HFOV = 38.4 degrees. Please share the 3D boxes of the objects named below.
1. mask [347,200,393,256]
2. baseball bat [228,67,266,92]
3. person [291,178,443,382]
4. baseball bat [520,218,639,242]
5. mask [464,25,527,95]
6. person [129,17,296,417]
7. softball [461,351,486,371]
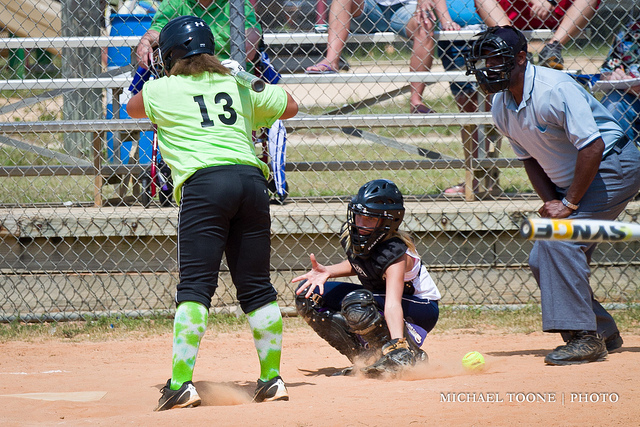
[{"bbox_3d":[0.322,0.118,7.523,0.349,0.406,0.425,16,11,39],"label":"mask"},{"bbox_3d":[-0.563,-1.013,6.943,0.302,0.185,0.166,0,14,11],"label":"baseball bat"},{"bbox_3d":[0.477,0.584,7.586,1.171,1.633,1.507,1,-1,-24],"label":"person"},{"bbox_3d":[1.795,0.117,6.376,1.023,0.167,0.167,1,6,-18],"label":"baseball bat"},{"bbox_3d":[1.480,-1.293,7.615,0.472,0.519,0.594,-1,16,37],"label":"mask"},{"bbox_3d":[-0.779,0.022,6.960,1.135,2.951,0.958,-6,14,-12],"label":"person"},{"bbox_3d":[1.245,1.203,7.481,0.184,0.131,0.150,-1,14,7],"label":"softball"}]
